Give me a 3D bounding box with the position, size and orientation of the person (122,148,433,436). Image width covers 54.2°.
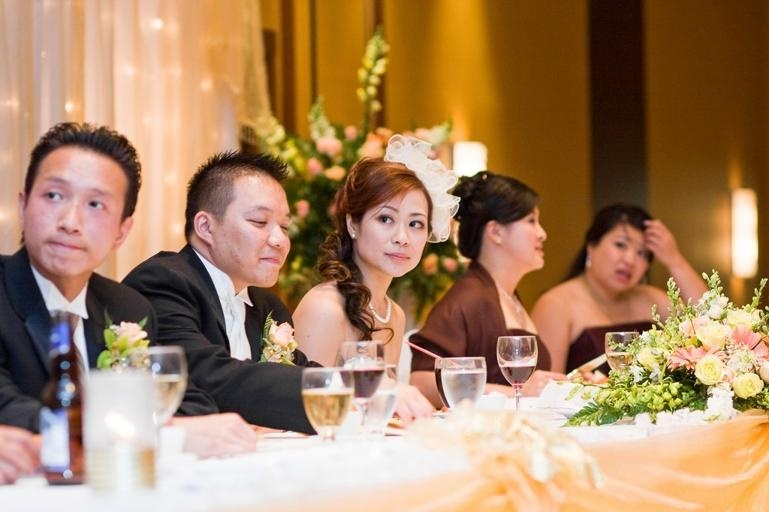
[{"bbox_3d":[-0.414,0.151,2.710,1.195,0.937,0.814,1,-2,14],"label":"person"}]

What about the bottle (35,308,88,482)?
[{"bbox_3d":[-0.677,0.287,1.580,0.081,0.361,0.215,1,-10,-24],"label":"bottle"}]

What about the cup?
[{"bbox_3d":[-0.460,0.307,1.308,0.113,0.202,0.069,0,-10,-19],"label":"cup"}]

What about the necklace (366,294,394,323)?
[{"bbox_3d":[-0.014,0.240,3.418,0.089,0.118,0.044,-11,-13,-19],"label":"necklace"}]
